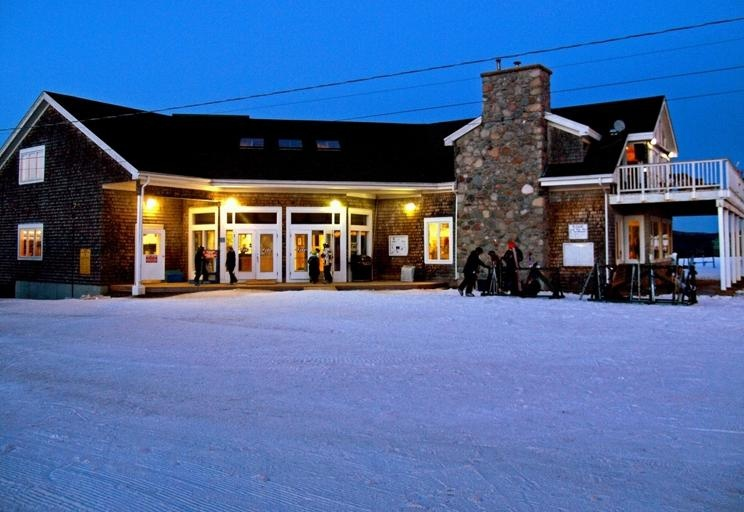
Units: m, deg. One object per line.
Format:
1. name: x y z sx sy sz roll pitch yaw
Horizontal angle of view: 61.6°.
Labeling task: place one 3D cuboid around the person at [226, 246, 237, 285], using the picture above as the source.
1. person: -5.316 0.373 23.573 0.367 1.333 0.891 -1 7 -14

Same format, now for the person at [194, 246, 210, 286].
1. person: -6.375 0.384 23.283 0.499 1.509 2.344 -1 7 -15

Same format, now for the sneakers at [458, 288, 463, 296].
1. sneakers: 2.942 1.180 20.478 0.149 0.226 0.065 -7 -2 39

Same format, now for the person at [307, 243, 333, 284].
1. person: -2.026 0.287 24.193 0.902 1.480 0.931 0 6 -5
